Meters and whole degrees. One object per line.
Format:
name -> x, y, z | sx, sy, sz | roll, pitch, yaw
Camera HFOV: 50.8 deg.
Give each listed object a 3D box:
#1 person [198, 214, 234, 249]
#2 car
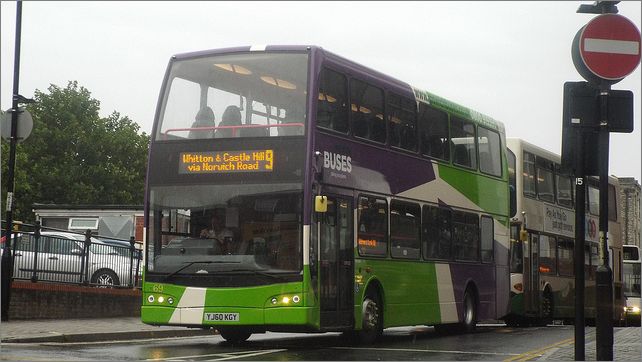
person -> -2.444, 1.255, 16.773 | 0.867, 1.150, 0.767 | -6, -6, 32
car -> -8.613, 2.775, 24.093 | 2.373, 1.779, 5.407 | -5, -5, 41
